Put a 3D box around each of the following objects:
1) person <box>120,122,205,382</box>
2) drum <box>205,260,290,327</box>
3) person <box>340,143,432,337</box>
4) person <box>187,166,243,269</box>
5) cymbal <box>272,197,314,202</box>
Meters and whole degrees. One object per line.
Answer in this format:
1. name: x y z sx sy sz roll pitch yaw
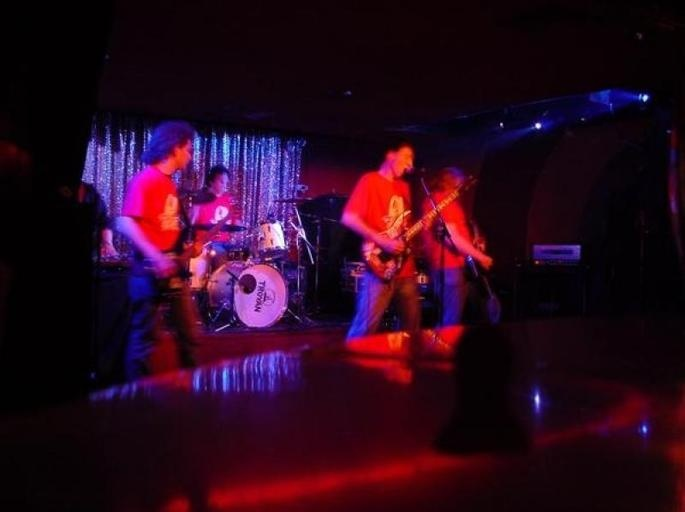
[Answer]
1. person: -0.848 -0.022 2.633 0.350 1.185 0.333 0 7 -16
2. drum: -0.856 0.372 5.619 0.611 0.620 0.517 4 -3 -21
3. person: 0.202 -0.077 2.940 0.411 0.995 0.427 1 6 -3
4. person: -1.213 -0.163 5.475 0.451 1.378 0.393 2 34 -20
5. cymbal: -0.572 -0.648 6.652 0.262 0.036 0.250 -4 3 -39
